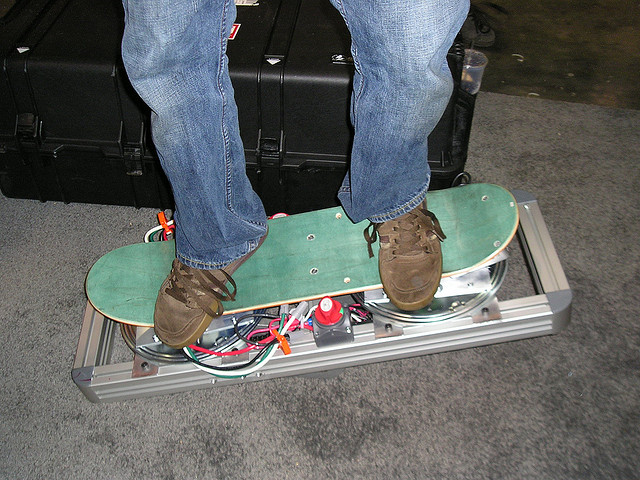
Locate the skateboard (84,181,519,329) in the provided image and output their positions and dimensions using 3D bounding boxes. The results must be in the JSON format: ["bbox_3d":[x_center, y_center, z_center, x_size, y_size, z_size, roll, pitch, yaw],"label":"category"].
[{"bbox_3d":[-0.006,0.056,1.456,1.134,0.158,0.263,-12,67,-1],"label":"skateboard"}]

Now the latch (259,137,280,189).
[{"bbox_3d":[-0.167,-0.259,1.726,0.093,0.156,0.112,2,64,0],"label":"latch"}]

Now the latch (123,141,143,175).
[{"bbox_3d":[-0.640,-0.273,1.773,0.068,0.105,0.095,1,48,-12],"label":"latch"}]

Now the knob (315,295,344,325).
[{"bbox_3d":[0.023,0.189,1.410,0.089,0.029,0.097,-14,38,4],"label":"knob"}]

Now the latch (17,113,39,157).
[{"bbox_3d":[-1.006,-0.367,1.769,0.072,0.099,0.072,19,25,17],"label":"latch"}]

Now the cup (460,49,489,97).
[{"bbox_3d":[0.615,-0.669,2.106,0.125,0.128,0.119,-4,44,4],"label":"cup"}]
